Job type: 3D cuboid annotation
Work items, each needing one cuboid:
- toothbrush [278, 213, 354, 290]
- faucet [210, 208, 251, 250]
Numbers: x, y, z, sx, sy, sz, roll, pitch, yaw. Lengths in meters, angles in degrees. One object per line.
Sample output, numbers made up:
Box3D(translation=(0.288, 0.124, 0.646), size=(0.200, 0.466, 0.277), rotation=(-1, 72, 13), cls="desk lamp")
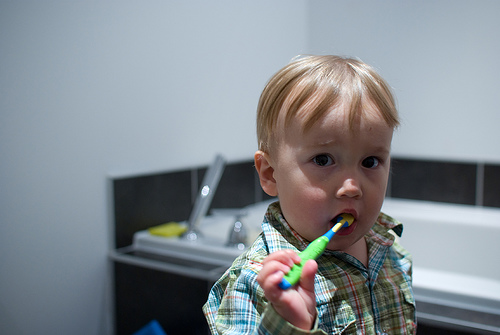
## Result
Box3D(translation=(0.139, 0.161, 0.870), size=(0.045, 0.025, 0.244), rotation=(43, 50, 14), cls="toothbrush")
Box3D(translation=(-0.070, 0.245, 1.620), size=(0.076, 0.124, 0.239), rotation=(2, -21, -5), cls="faucet")
